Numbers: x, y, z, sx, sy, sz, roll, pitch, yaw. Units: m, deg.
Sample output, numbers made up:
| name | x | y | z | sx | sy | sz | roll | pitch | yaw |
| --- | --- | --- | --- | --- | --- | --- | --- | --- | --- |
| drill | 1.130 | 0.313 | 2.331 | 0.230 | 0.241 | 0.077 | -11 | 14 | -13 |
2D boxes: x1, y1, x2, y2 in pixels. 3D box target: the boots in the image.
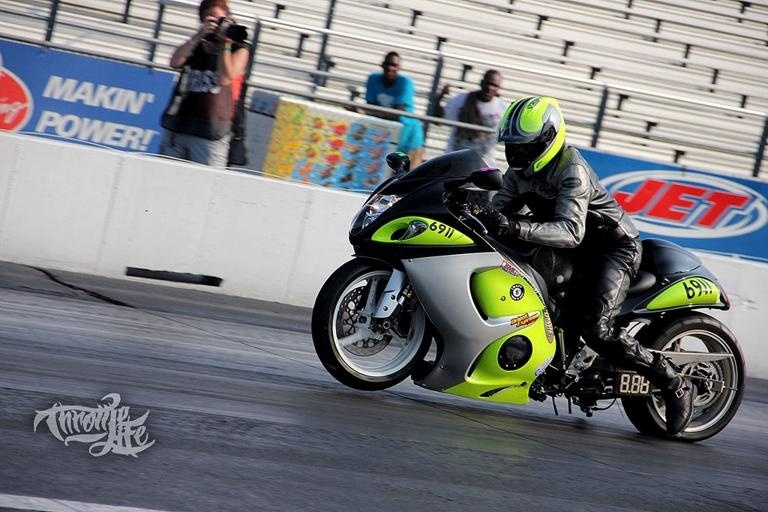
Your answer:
| name | x | y | z | sx | sy | sz | roll | pitch | yaw |
| --- | --- | --- | --- | --- | --- | --- | --- | --- | --- |
| boots | 2.374 | 1.248 | 9.503 | 0.608 | 0.324 | 0.871 | 44 | 23 | -11 |

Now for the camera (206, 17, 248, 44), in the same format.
| name | x | y | z | sx | sy | sz | roll | pitch | yaw |
| --- | --- | --- | --- | --- | --- | --- | --- | --- | --- |
| camera | -1.665 | -2.397 | 11.596 | 0.352 | 0.267 | 0.145 | 17 | 8 | 33 |

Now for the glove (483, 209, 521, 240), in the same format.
| name | x | y | z | sx | sy | sz | roll | pitch | yaw |
| --- | --- | --- | --- | --- | --- | --- | --- | --- | --- |
| glove | 0.965 | -0.256 | 9.011 | 0.349 | 0.227 | 0.117 | 9 | 12 | -20 |
